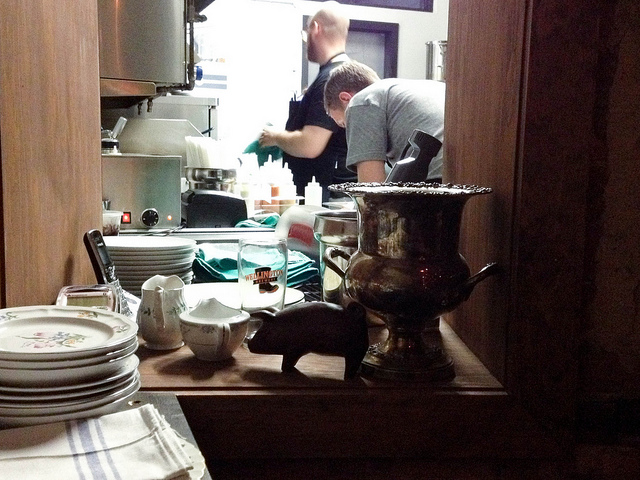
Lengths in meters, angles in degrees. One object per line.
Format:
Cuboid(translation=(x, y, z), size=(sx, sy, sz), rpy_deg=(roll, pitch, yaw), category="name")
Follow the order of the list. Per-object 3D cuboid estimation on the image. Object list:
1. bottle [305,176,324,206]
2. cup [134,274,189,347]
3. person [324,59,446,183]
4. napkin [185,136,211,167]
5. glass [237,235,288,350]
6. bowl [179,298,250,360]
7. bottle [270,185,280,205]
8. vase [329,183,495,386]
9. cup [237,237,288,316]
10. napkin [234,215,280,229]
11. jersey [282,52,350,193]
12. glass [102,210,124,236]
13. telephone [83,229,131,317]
Cuboid(translation=(-0.033, -0.275, 2.956), size=(0.086, 0.139, 0.209), rpy_deg=(2, 10, 1), category="bottle")
Cuboid(translation=(-0.295, 0.135, 0.999), size=(0.083, 0.124, 0.088), rpy_deg=(2, 10, 0), category="cup")
Cuboid(translation=(0.283, -0.567, 2.476), size=(0.530, 0.595, 1.018), rpy_deg=(2, 10, -1), category="person")
Cuboid(translation=(-0.750, -0.532, 3.165), size=(0.190, 0.186, 0.052), rpy_deg=(2, -2, -21), category="napkin")
Cuboid(translation=(-0.124, 0.076, 1.146), size=(0.102, 0.155, 0.096), rpy_deg=(1, 11, -7), category="glass")
Cuboid(translation=(-0.195, 0.155, 0.955), size=(0.135, 0.096, 0.098), rpy_deg=(3, 10, 6), category="bowl")
Cuboid(translation=(-0.269, -0.269, 3.162), size=(0.057, 0.111, 0.047), rpy_deg=(1, 10, -6), category="bottle")
Cuboid(translation=(0.144, 0.051, 1.003), size=(0.297, 0.346, 0.341), rpy_deg=(2, 0, -36), category="vase")
Cuboid(translation=(-0.128, 0.071, 1.141), size=(0.105, 0.145, 0.092), rpy_deg=(5, 11, 13), category="cup")
Cuboid(translation=(-0.282, -0.077, 2.453), size=(0.143, 0.047, 0.105), rpy_deg=(2, -1, -3), category="napkin")
Cuboid(translation=(-0.015, -0.785, 3.709), size=(0.354, 0.980, 0.832), rpy_deg=(0, 11, -12), category="jersey")
Cuboid(translation=(-0.655, -0.055, 1.716), size=(0.079, 0.057, 0.079), rpy_deg=(0, -1, -5), category="glass")
Cuboid(translation=(-0.460, 0.081, 1.156), size=(0.035, 0.222, 0.049), rpy_deg=(-15, 17, 8), category="telephone")
